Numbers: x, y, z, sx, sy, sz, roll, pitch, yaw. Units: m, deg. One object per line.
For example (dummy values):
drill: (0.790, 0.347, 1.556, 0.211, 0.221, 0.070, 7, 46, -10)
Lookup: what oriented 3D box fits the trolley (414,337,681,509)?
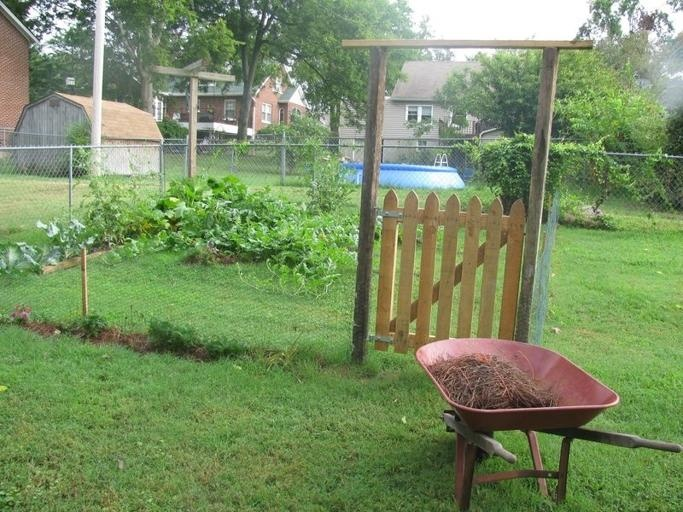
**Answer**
trolley: (1.564, 1.312, 5.638, 1.152, 0.934, 2.007, -2, 10, -18)
